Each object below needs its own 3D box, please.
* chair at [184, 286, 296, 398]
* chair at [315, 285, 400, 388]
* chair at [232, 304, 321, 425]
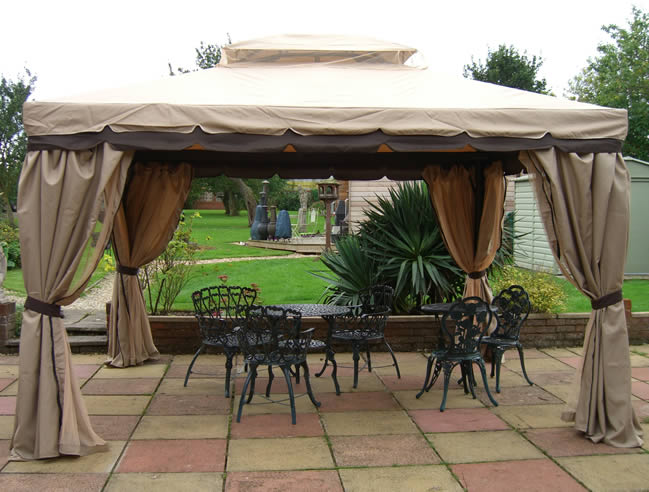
[{"bbox_3d":[-1.125,1.115,6.043,0.785,1.050,0.882,20,-31,-16],"label":"chair"},{"bbox_3d":[0.378,0.943,6.205,0.778,0.989,0.726,0,-1,-36],"label":"chair"},{"bbox_3d":[-0.443,1.013,5.479,0.767,1.071,1.264,0,7,-2],"label":"chair"}]
